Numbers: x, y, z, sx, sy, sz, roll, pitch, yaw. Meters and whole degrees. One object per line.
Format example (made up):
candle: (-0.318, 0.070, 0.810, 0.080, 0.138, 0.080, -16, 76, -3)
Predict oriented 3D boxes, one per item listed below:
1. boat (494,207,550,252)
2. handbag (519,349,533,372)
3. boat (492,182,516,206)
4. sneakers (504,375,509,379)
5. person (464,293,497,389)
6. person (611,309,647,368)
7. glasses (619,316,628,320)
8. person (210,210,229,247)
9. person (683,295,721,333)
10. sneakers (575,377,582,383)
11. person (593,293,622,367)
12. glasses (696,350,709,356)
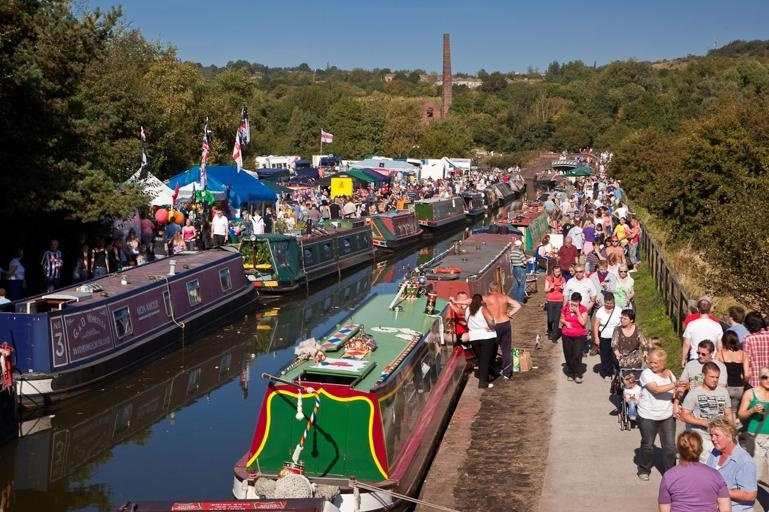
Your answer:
boat: (6.946, -1.561, 34.746, 1.545, 1.347, 5.548, -8, 17, 13)
handbag: (3.615, 2.866, 18.435, 0.164, 0.463, 0.486, -5, -8, 23)
boat: (10.868, -6.017, 66.556, 1.444, 1.716, 5.265, 0, 16, 21)
sneakers: (3.040, 3.207, 17.985, 0.099, 0.052, 0.167, 4, 4, 8)
person: (2.253, 2.171, 16.906, 0.661, 2.451, 0.862, -1, 4, -12)
person: (5.143, 1.808, 14.828, 0.694, 1.320, 0.550, 0, 4, 9)
glasses: (4.956, 1.342, 14.697, 0.107, 0.087, 0.138, -4, 26, 46)
person: (-7.190, -1.198, 29.558, 0.672, 1.498, 1.552, -1, 4, -12)
person: (7.230, 1.407, 16.131, 0.939, 0.968, 0.381, 3, 13, -9)
sneakers: (4.765, 3.195, 17.475, 0.159, 0.073, 0.218, 0, -3, 6)
person: (5.091, 1.944, 16.149, 0.660, 1.979, 0.670, 0, 18, 27)
glasses: (5.696, 1.815, 12.605, 0.092, 0.121, 0.191, -3, 5, -38)
